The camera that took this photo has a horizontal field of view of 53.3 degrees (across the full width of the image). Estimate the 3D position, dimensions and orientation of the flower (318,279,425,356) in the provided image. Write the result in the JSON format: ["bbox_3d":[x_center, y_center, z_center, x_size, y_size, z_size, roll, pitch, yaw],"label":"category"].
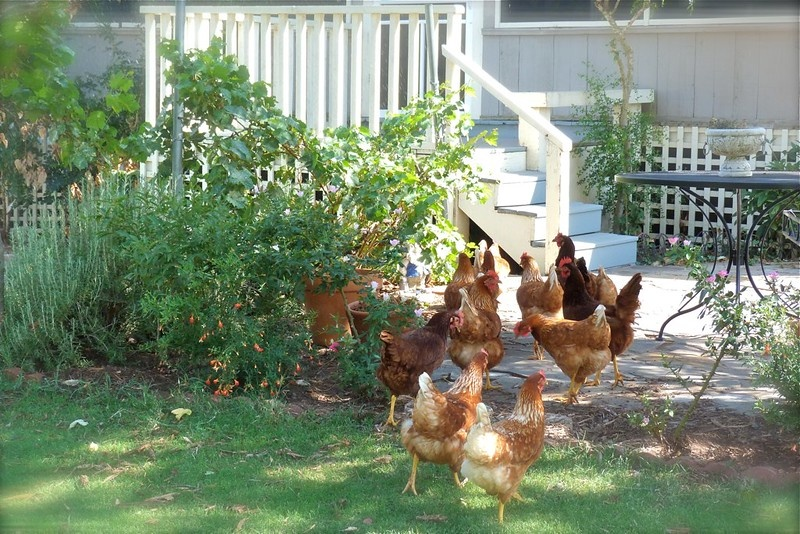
[{"bbox_3d":[-0.512,0.436,7.201,0.663,0.522,0.674,1,6,-10],"label":"flower"}]

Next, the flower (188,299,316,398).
[{"bbox_3d":[-1.177,0.631,6.444,0.777,0.784,0.560,5,-19,-16],"label":"flower"}]

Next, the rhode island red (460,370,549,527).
[{"bbox_3d":[0.673,1.141,5.047,0.298,0.875,0.647,5,8,40],"label":"rhode island red"}]

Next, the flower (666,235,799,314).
[{"bbox_3d":[3.357,0.090,7.938,0.993,0.775,0.446,-6,42,22],"label":"flower"}]

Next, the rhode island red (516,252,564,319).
[{"bbox_3d":[1.289,0.247,7.394,0.379,0.626,0.820,1,7,-11],"label":"rhode island red"}]
